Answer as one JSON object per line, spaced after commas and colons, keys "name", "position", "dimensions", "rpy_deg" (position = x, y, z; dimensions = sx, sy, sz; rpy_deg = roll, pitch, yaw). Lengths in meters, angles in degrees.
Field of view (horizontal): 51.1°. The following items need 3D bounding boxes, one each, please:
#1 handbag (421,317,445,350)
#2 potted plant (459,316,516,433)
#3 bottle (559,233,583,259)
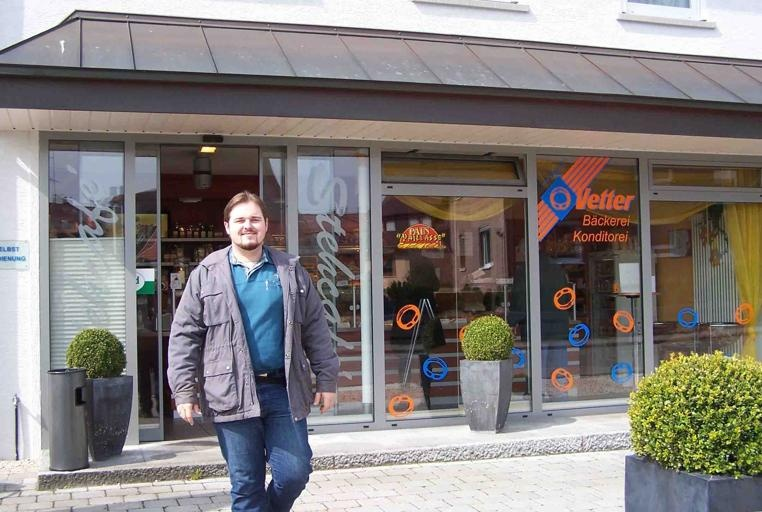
{"name": "handbag", "position": [0.656, 0.976, 9.981], "dimensions": [0.283, 0.362, 0.128], "rpy_deg": [0, 1, -15]}
{"name": "potted plant", "position": [1.241, 1.421, 9.418], "dimensions": [0.599, 1.320, 0.356], "rpy_deg": [1, 10, 6]}
{"name": "bottle", "position": [2.474, -0.122, 10.459], "dimensions": [0.339, 0.327, 0.162], "rpy_deg": [1, -2, -7]}
